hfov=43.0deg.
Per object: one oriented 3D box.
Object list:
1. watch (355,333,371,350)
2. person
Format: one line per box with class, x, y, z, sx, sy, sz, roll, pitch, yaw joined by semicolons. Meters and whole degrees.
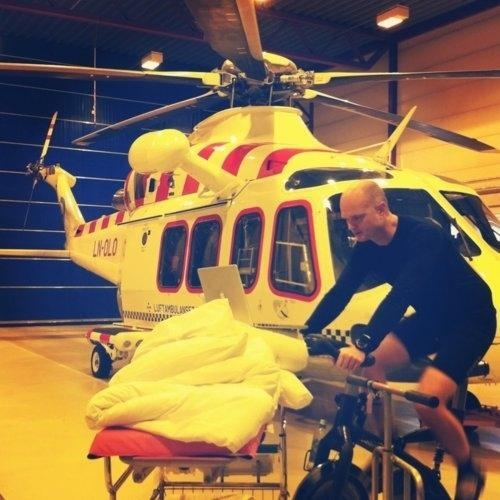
watch;0.543;0.449;3.150;0.066;0.072;0.077;1;-21;0
person;0.837;0.247;3.547;1.079;1.186;0.615;5;-12;-21
